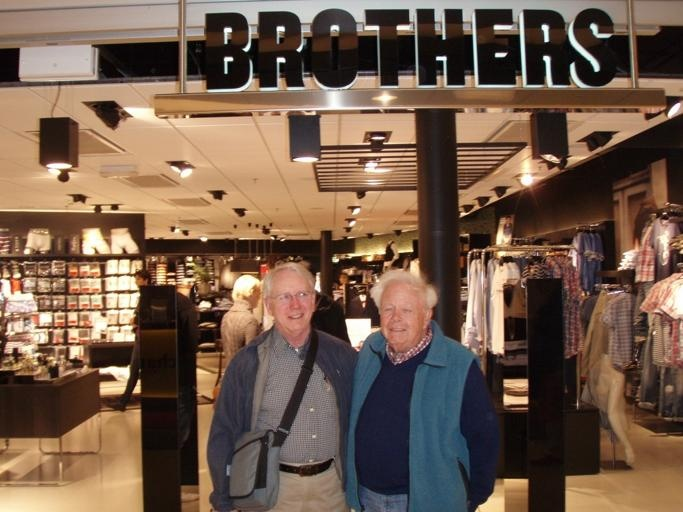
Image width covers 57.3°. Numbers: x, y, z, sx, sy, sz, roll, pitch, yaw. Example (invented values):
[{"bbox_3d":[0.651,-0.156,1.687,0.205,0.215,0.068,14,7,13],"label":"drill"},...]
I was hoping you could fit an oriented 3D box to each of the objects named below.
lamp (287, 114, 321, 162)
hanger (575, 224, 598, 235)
[{"bbox_3d":[-0.325,-1.019,5.521,0.364,0.489,0.353,-1,-3,-2],"label":"lamp"},{"bbox_3d":[3.967,-0.443,10.092,0.205,0.130,0.141,0,-6,7],"label":"hanger"}]
